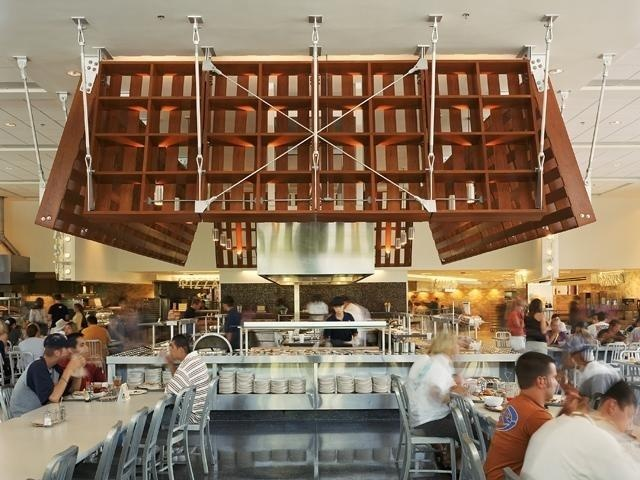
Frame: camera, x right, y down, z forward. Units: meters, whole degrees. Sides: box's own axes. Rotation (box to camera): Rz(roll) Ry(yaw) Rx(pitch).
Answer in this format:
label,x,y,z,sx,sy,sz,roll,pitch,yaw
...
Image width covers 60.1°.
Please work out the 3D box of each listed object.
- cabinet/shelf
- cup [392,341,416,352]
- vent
label,x,y,z,sx,sy,sz,roll,pitch,yaw
cabinet/shelf,-0.034,-1.000,7.107,5.598,2.117,3.686,2,0,-1
cup,1.163,1.488,7.606,0.232,0.123,0.213,0,-2,0
vent,0.325,0.134,8.108,2.349,0.702,2.243,0,-2,-2
